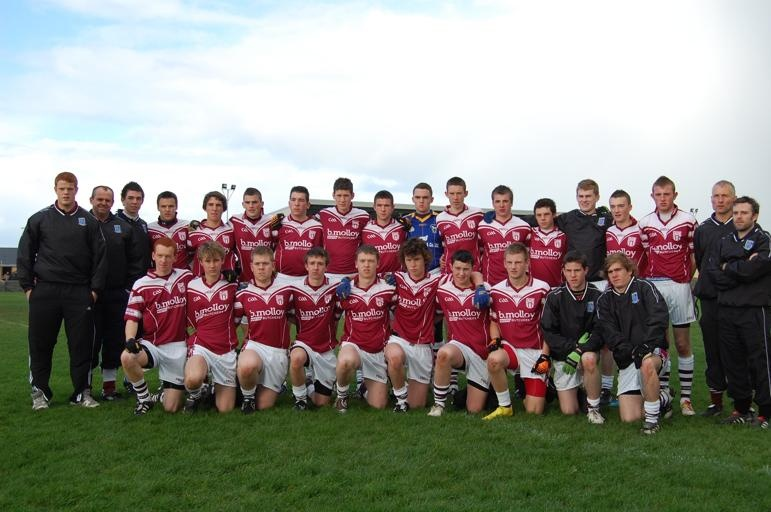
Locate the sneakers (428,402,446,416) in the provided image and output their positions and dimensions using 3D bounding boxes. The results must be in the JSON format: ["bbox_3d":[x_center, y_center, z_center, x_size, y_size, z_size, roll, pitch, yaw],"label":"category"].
[{"bbox_3d":[0.660,1.992,9.624,0.214,0.143,0.316,0,10,5],"label":"sneakers"}]

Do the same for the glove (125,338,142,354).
[{"bbox_3d":[-3.262,1.150,9.530,0.188,0.220,0.305,-4,10,-16],"label":"glove"}]

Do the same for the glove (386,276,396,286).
[{"bbox_3d":[0.064,0.320,10.053,0.120,0.129,0.038,14,-12,-6],"label":"glove"}]

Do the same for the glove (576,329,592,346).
[{"bbox_3d":[2.532,1.030,9.447,0.166,0.046,0.114,-43,21,-23],"label":"glove"}]

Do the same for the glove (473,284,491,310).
[{"bbox_3d":[1.257,0.533,9.686,0.225,0.305,0.121,-1,-2,-21],"label":"glove"}]

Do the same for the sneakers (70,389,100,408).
[{"bbox_3d":[-4.077,1.937,10.082,0.474,0.243,0.173,1,-6,28],"label":"sneakers"}]

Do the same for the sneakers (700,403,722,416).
[{"bbox_3d":[4.215,1.977,9.530,0.314,0.137,0.119,-1,-5,-11],"label":"sneakers"}]

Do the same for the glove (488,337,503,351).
[{"bbox_3d":[1.421,1.152,9.629,0.130,0.169,0.066,13,-32,7],"label":"glove"}]

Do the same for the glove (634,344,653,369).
[{"bbox_3d":[3.133,1.208,8.966,0.231,0.247,0.102,17,-6,44],"label":"glove"}]

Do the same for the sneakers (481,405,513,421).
[{"bbox_3d":[1.392,2.009,9.475,0.444,0.204,0.154,-5,-3,-6],"label":"sneakers"}]

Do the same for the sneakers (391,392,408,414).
[{"bbox_3d":[0.185,1.957,9.886,0.115,0.240,0.336,-2,-23,7],"label":"sneakers"}]

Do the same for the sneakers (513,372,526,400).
[{"bbox_3d":[1.841,1.794,10.176,0.113,0.464,0.129,-4,18,-13],"label":"sneakers"}]

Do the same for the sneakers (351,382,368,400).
[{"bbox_3d":[-0.381,1.932,10.669,0.150,0.214,0.457,5,1,-9],"label":"sneakers"}]

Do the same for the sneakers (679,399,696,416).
[{"bbox_3d":[3.967,1.993,9.709,0.104,0.133,0.310,-9,-17,12],"label":"sneakers"}]

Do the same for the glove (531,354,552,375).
[{"bbox_3d":[2.018,1.421,9.552,0.264,0.328,0.258,-2,10,-9],"label":"glove"}]

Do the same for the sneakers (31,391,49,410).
[{"bbox_3d":[-4.632,1.891,9.879,0.212,0.257,0.275,-6,11,-28],"label":"sneakers"}]

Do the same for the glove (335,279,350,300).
[{"bbox_3d":[-0.586,0.422,10.000,0.185,0.251,0.101,34,-8,-38],"label":"glove"}]

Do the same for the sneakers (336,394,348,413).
[{"bbox_3d":[-0.595,1.947,9.859,0.174,0.240,0.505,-2,10,-4],"label":"sneakers"}]
